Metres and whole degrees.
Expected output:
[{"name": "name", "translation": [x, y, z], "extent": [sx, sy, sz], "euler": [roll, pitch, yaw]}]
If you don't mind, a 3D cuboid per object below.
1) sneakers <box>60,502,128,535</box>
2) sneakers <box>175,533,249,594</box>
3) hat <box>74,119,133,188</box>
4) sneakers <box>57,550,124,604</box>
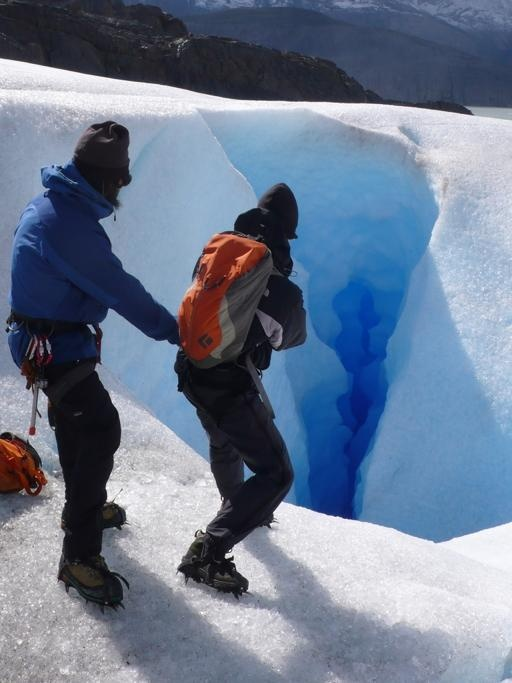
[{"name": "sneakers", "translation": [-0.477, 0.521, 1.993], "extent": [0.178, 0.089, 0.065], "euler": [-3, 2, -15]}, {"name": "sneakers", "translation": [-0.128, 0.622, 1.894], "extent": [0.220, 0.143, 0.101], "euler": [27, 13, -6]}, {"name": "hat", "translation": [-0.393, -0.497, 1.763], "extent": [0.149, 0.154, 0.112], "euler": [12, 13, -12]}, {"name": "sneakers", "translation": [-0.413, 0.603, 1.756], "extent": [0.193, 0.092, 0.093], "euler": [21, 35, 7]}]
